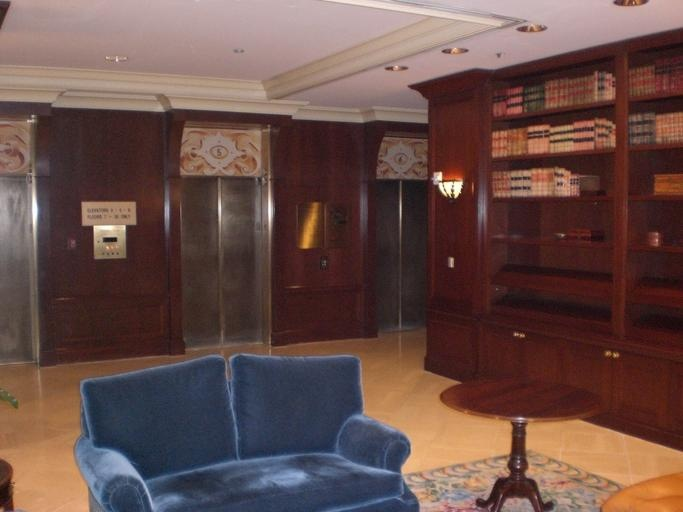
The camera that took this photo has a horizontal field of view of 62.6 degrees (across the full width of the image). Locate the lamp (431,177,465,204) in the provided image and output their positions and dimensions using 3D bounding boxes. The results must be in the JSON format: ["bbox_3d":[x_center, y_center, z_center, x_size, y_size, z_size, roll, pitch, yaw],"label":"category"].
[{"bbox_3d":[1.336,-0.831,7.000,0.299,0.221,0.344,1,2,6],"label":"lamp"}]
